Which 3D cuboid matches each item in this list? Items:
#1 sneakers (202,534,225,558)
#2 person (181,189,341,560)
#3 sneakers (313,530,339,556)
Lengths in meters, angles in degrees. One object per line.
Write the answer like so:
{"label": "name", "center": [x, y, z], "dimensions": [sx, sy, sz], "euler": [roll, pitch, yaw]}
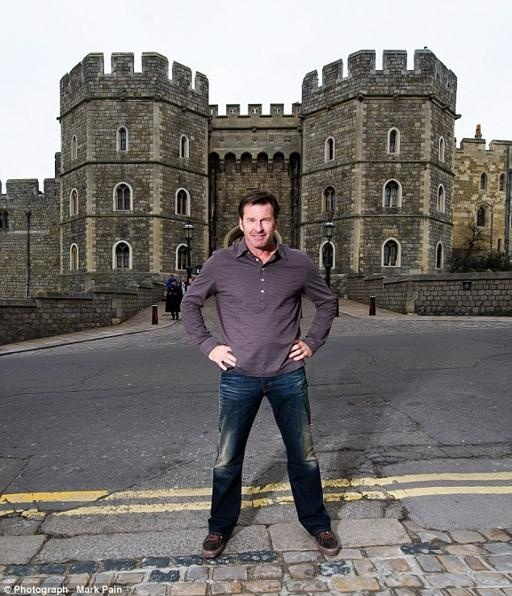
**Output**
{"label": "sneakers", "center": [-0.214, 1.275, 3.321], "dimensions": [0.098, 0.084, 0.171], "euler": [-1, 5, 14]}
{"label": "person", "center": [0.014, 0.362, 3.446], "dimensions": [0.846, 1.863, 0.633], "euler": [-2, 6, 5]}
{"label": "sneakers", "center": [0.370, 1.259, 3.284], "dimensions": [0.127, 0.087, 0.112], "euler": [-1, 5, 5]}
